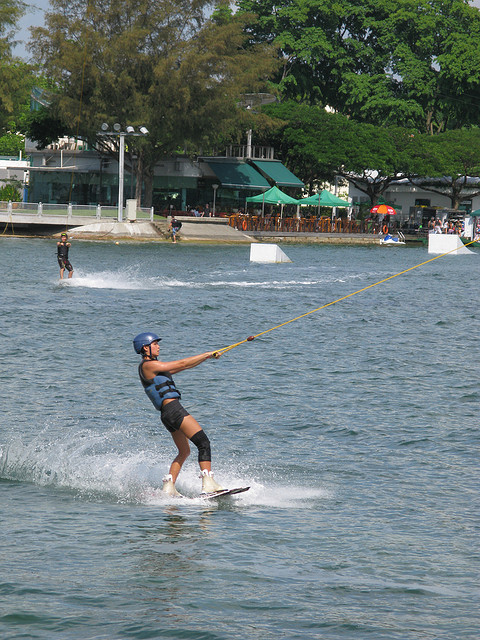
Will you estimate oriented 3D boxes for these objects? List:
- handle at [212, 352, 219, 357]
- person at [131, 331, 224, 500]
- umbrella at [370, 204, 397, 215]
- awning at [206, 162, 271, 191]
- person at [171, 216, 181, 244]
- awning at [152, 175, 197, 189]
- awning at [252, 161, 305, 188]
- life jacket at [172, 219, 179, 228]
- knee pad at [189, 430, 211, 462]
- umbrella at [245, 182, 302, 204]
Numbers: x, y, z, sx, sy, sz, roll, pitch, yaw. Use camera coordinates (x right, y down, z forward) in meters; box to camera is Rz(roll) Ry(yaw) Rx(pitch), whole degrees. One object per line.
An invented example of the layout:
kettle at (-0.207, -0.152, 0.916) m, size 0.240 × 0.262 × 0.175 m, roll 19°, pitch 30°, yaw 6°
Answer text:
handle at (-0.214, 0.305, 9.846) m, size 0.044 × 0.039 × 0.014 m, roll -3°, pitch -10°, yaw -3°
person at (-0.546, 0.904, 9.964) m, size 0.857 × 1.573 × 0.500 m, roll 3°, pitch 6°, yaw 9°
umbrella at (9.412, -7.328, 71.380) m, size 1.237 × 0.547 × 1.651 m, roll 0°, pitch 6°, yaw -13°
awning at (0.133, -9.387, 70.279) m, size 3.731 × 1.725 × 2.970 m, roll -1°, pitch 6°, yaw -28°
person at (-3.243, -4.674, 56.427) m, size 0.450 × 1.278 × 1.072 m, roll 1°, pitch 6°, yaw -6°
awning at (-4.112, -9.027, 70.944) m, size 2.792 × 0.869 × 0.293 m, roll 1°, pitch 6°, yaw -4°
awning at (2.648, -9.673, 71.881) m, size 2.010 × 1.289 × 3.479 m, roll 8°, pitch 8°, yaw 10°
life jacket at (-3.249, -4.993, 56.075) m, size 0.323 × 0.388 × 0.384 m, roll 1°, pitch 6°, yaw -11°
knee pad at (-0.343, 1.133, 9.858) m, size 0.167 × 0.323 × 0.286 m, roll 2°, pitch 6°, yaw 5°
umbrella at (1.786, -7.330, 63.928) m, size 2.708 × 1.179 × 2.685 m, roll 2°, pitch 5°, yaw 36°
